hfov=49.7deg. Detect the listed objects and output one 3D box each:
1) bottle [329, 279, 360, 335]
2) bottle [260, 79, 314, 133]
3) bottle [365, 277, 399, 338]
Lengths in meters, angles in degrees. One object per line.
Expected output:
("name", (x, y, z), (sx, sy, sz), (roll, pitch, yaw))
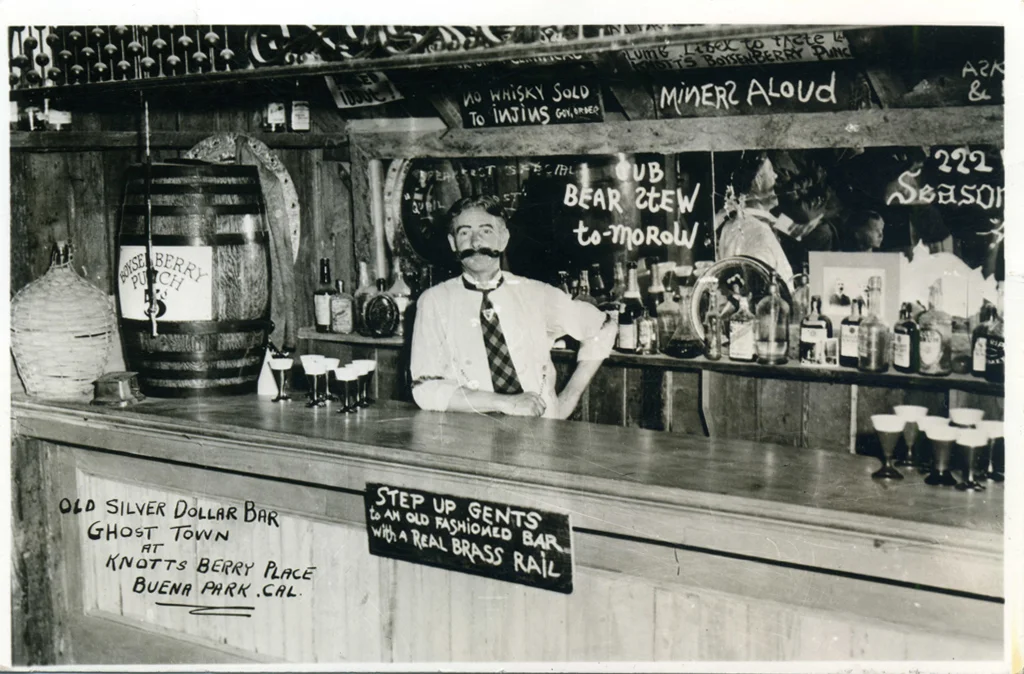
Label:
("bottle", (-0.810, -0.149, 5.388), (0.133, 0.262, 0.062), (3, 4, 17))
("bottle", (-1.058, -1.088, 5.342), (0.253, 0.253, 0.230), (1, -33, -5))
("bottle", (-0.622, -0.106, 5.269), (0.193, 0.218, 0.036), (4, 5, 32))
